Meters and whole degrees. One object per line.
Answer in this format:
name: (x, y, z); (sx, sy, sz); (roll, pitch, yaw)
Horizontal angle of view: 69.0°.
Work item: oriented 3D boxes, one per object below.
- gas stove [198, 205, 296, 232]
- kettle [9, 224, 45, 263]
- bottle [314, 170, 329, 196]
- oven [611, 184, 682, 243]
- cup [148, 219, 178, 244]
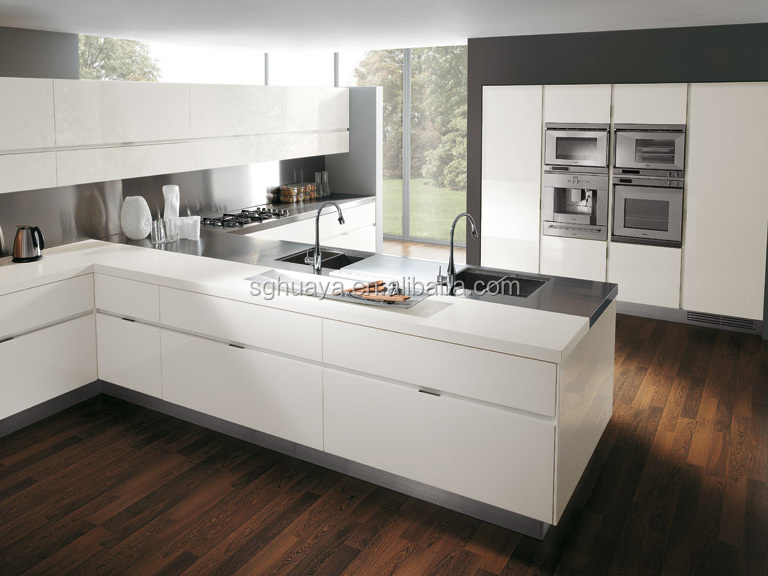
gas stove: (-1.288, -0.658, 5.210); (0.524, 0.084, 0.882); (9, 20, 34)
kettle: (-2.293, -0.280, 3.666); (0.178, 0.279, 0.263); (6, 6, 25)
bottle: (-0.700, -1.153, 6.223); (0.117, 0.306, 0.266); (5, 13, 27)
oven: (2.545, -0.726, 5.277); (0.373, 0.570, 0.675); (-19, 22, -34)
cup: (-1.666, -0.442, 4.220); (0.185, 0.192, 0.192); (1, 14, 0)
